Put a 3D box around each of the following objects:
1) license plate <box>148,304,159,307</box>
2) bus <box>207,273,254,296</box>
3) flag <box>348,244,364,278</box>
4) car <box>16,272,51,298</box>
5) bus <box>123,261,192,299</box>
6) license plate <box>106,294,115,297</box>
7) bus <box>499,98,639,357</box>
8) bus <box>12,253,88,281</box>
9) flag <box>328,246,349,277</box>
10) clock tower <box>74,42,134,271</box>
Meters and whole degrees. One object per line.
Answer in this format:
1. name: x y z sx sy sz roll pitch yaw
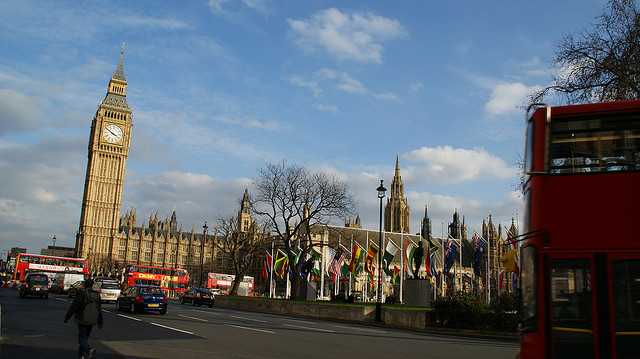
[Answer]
1. license plate: -10.974 8.296 40.602 0.676 0.146 0.115 4 -15 -7
2. bus: -12.320 15.663 90.646 8.239 3.592 2.302 -1 4 26
3. flag: 3.374 7.482 57.055 0.977 2.996 2.054 4 -15 -3
4. car: -25.730 9.522 55.540 2.278 1.870 4.425 7 -8 -28
5. bus: -20.590 13.245 81.435 9.546 4.095 3.171 0 8 20
6. license plate: -16.648 9.204 49.055 0.539 0.130 0.061 9 -16 -26
7. bus: 9.376 1.676 22.117 4.003 9.161 1.492 1 -16 8
8. bus: -32.542 10.805 74.004 7.893 2.888 2.508 9 -9 -26
9. flag: 1.714 8.010 59.697 1.086 2.380 2.242 4 -15 -3
10. clock tower: -51.842 -5.979 150.109 8.995 54.087 7.793 9 -17 -21
